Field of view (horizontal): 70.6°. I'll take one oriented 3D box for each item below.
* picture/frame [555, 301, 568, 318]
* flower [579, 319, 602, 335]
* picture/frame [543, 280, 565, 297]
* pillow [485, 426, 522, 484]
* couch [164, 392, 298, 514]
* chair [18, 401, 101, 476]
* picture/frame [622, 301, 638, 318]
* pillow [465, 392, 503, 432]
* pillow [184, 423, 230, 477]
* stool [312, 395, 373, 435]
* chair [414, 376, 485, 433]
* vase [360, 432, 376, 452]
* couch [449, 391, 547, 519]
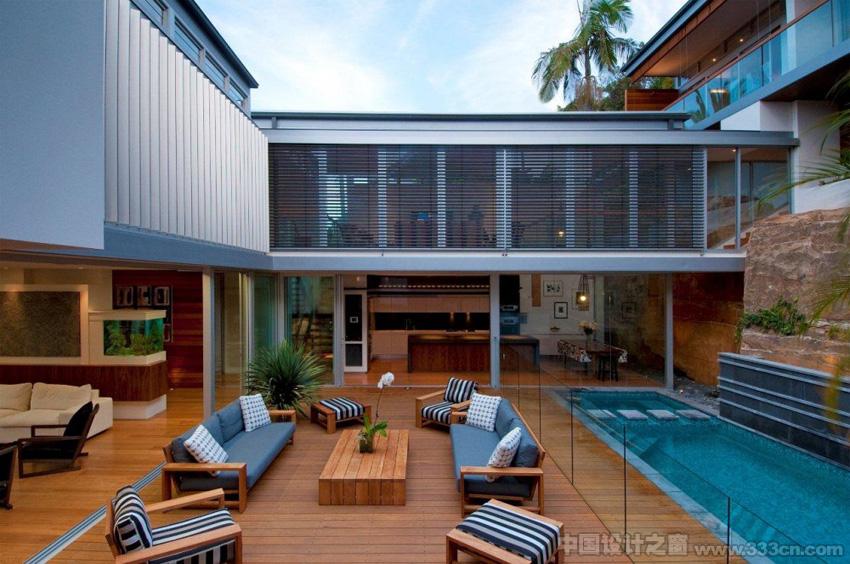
[{"bbox_3d":[3.734,0.752,16.294,0.469,0.555,0.045,1,0,1],"label":"picture/frame"},{"bbox_3d":[4.485,1.237,16.162,0.460,0.222,0.458,0,2,0],"label":"flower"},{"bbox_3d":[3.491,0.195,16.163,0.488,0.448,0.113,-1,4,-2],"label":"picture/frame"},{"bbox_3d":[1.410,3.083,10.514,0.436,0.684,0.857,8,2,29],"label":"pillow"},{"bbox_3d":[-3.471,3.138,11.217,2.022,1.315,3.839,2,6,7],"label":"couch"},{"bbox_3d":[-7.070,3.072,11.735,1.391,1.259,1.378,4,8,5],"label":"chair"},{"bbox_3d":[5.520,0.747,16.169,0.451,0.494,0.041,1,4,-1],"label":"picture/frame"},{"bbox_3d":[1.225,2.669,12.248,0.198,0.665,0.663,28,-17,-39],"label":"pillow"},{"bbox_3d":[-3.834,2.957,10.478,0.195,0.705,0.748,-36,11,19],"label":"pillow"},{"bbox_3d":[-1.988,2.932,13.525,1.064,0.833,1.218,7,2,41],"label":"stool"},{"bbox_3d":[0.559,2.747,13.514,1.050,1.031,1.205,-1,-5,39],"label":"chair"},{"bbox_3d":[-1.071,3.061,11.432,0.315,0.422,0.313,0,-4,-3],"label":"vase"},{"bbox_3d":[1.277,2.655,10.766,1.291,0.997,3.124,-1,4,3],"label":"couch"}]
